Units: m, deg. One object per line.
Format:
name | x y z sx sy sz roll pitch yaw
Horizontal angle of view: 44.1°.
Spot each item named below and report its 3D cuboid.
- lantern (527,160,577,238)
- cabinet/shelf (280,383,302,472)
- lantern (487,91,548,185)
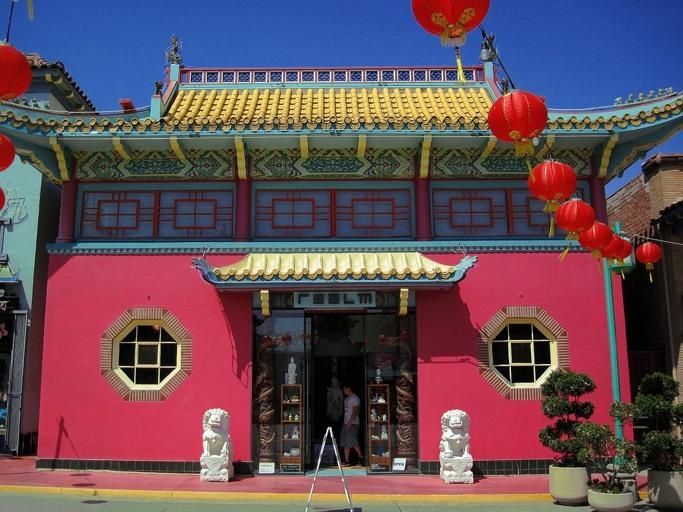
lantern | 4.150 -1.411 16.531 0.854 0.989 0.536 -4 -16 9
cabinet/shelf | -1.126 3.803 18.991 0.535 1.764 0.424 4 -6 -12
lantern | 3.283 -2.483 15.670 1.038 1.083 0.616 -4 -17 10
